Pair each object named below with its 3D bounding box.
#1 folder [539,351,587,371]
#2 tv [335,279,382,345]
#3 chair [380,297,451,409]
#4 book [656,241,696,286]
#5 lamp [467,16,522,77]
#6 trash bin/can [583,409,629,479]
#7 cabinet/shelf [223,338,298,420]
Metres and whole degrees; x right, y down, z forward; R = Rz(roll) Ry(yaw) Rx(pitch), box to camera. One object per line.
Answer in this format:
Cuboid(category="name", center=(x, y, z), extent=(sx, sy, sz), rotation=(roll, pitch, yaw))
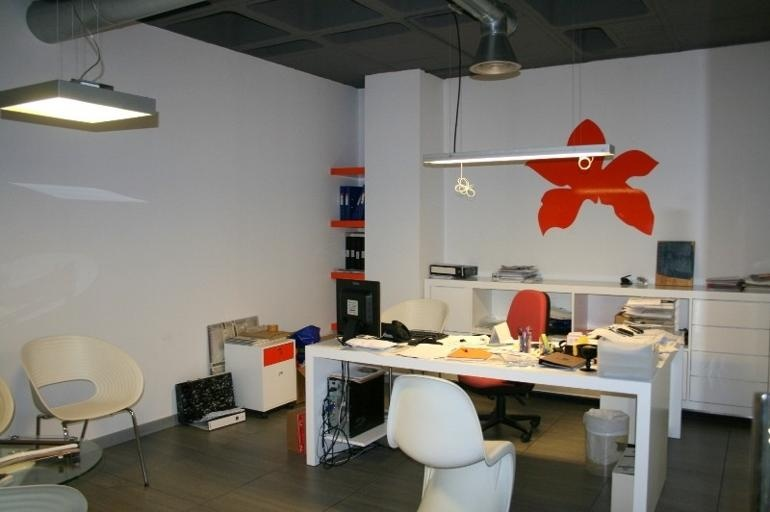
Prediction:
Cuboid(category="folder", center=(1.447, 0.853, 4.741), extent=(0.322, 0.066, 0.246), rotation=(8, 14, 37))
Cuboid(category="tv", center=(-0.244, 0.531, 5.407), extent=(0.554, 0.667, 0.235), rotation=(3, 8, 28))
Cuboid(category="chair", center=(0.471, 0.965, 6.664), extent=(0.854, 1.091, 0.780), rotation=(-1, -6, 22))
Cuboid(category="book", center=(3.310, 0.087, 6.583), extent=(0.498, 0.675, 0.074), rotation=(0, -7, 30))
Cuboid(category="lamp", center=(0.977, -1.889, 5.168), extent=(0.409, 0.459, 0.445), rotation=(0, 1, 27))
Cuboid(category="trash bin/can", center=(2.049, 1.725, 5.385), extent=(0.365, 0.541, 0.386), rotation=(2, -1, 33))
Cuboid(category="cabinet/shelf", center=(-1.402, 1.343, 6.808), extent=(0.826, 1.088, 0.754), rotation=(0, 3, 33))
